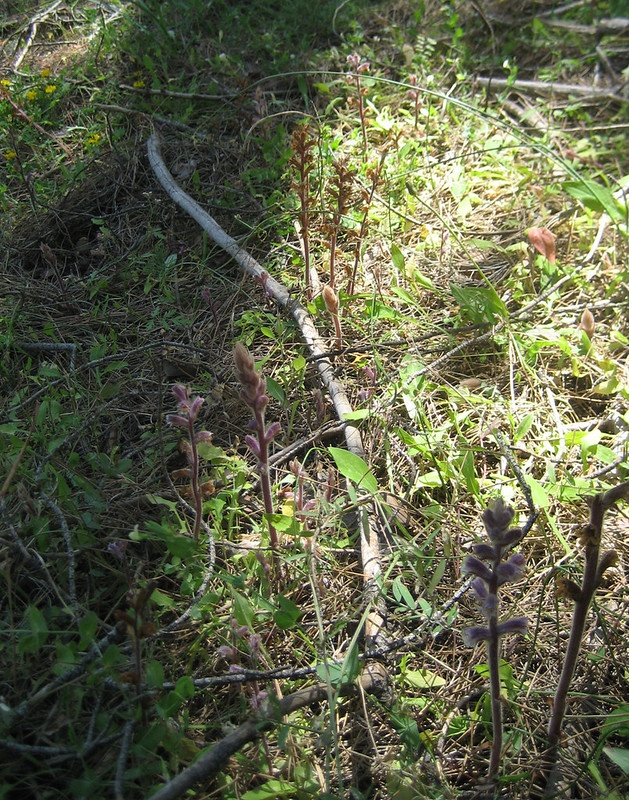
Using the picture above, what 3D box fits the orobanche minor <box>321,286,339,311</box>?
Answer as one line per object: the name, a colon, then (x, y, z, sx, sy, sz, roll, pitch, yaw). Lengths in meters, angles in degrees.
orobanche minor: (0.064, -0.333, 2.493, 0.037, 0.054, 0.096, -30, -11, -8)
